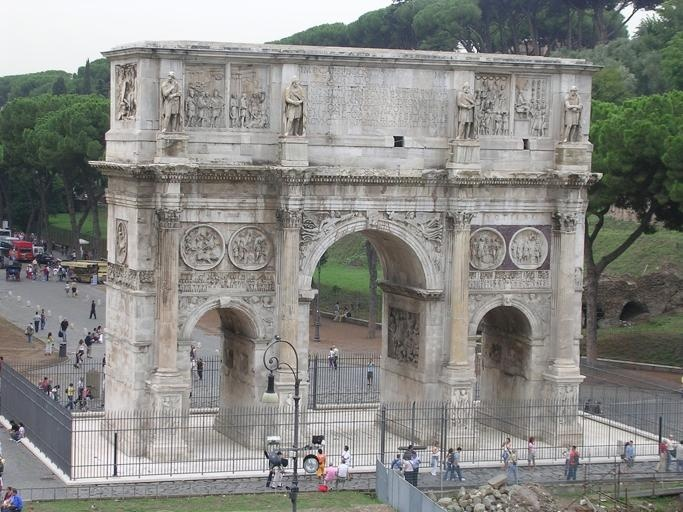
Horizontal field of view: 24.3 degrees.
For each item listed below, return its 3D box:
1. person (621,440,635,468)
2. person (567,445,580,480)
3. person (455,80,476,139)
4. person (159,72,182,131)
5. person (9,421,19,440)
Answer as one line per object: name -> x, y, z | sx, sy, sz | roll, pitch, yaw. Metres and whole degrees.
person -> 14.557, 9.954, 80.227 | 0.642, 1.276, 1.103 | -1, -5, 10
person -> 11.443, 10.200, 78.304 | 0.505, 1.647, 1.324 | -1, -5, 9
person -> 6.335, -7.369, 80.764 | 0.929, 2.919, 0.497 | 0, -5, 3
person -> -8.285, -7.505, 77.623 | 1.009, 3.001, 0.641 | 1, -5, -7
person -> -16.734, 8.944, 81.477 | 0.466, 0.976, 0.761 | 1, -5, -12
